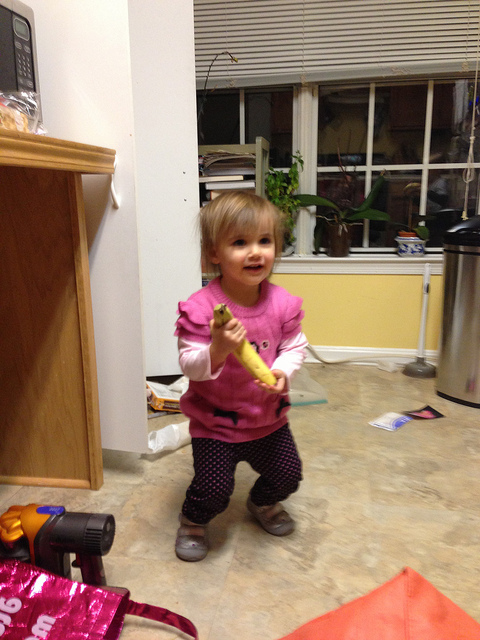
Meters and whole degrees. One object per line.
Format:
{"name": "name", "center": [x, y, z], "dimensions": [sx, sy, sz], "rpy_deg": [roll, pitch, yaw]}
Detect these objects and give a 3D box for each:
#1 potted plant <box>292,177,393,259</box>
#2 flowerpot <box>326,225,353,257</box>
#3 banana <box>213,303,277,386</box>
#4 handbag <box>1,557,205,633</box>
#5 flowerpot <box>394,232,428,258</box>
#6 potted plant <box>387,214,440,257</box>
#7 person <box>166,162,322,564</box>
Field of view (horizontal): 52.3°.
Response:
{"name": "potted plant", "center": [0.574, -0.564, 2.770], "dimensions": [0.475, 0.375, 0.608], "rpy_deg": [15, -2, 5]}
{"name": "flowerpot", "center": [0.532, -0.425, 2.658], "dimensions": [0.144, 0.183, 0.150], "rpy_deg": [4, 7, 27]}
{"name": "banana", "center": [0.019, 0.072, 0.891], "dimensions": [0.062, 0.199, 0.050], "rpy_deg": [-27, 44, 18]}
{"name": "handbag", "center": [-0.219, 0.400, 0.790], "dimensions": [0.263, 0.076, 0.152], "rpy_deg": [18, -1, -12]}
{"name": "flowerpot", "center": [0.900, -0.396, 2.593], "dimensions": [0.132, 0.121, 0.138], "rpy_deg": [5, 14, 31]}
{"name": "potted plant", "center": [0.953, -0.443, 2.678], "dimensions": [0.254, 0.204, 0.251], "rpy_deg": [-5, 8, -37]}
{"name": "person", "center": [0.008, 0.115, 1.045], "dimensions": [0.287, 0.794, 0.271], "rpy_deg": [-8, 12, -38]}
